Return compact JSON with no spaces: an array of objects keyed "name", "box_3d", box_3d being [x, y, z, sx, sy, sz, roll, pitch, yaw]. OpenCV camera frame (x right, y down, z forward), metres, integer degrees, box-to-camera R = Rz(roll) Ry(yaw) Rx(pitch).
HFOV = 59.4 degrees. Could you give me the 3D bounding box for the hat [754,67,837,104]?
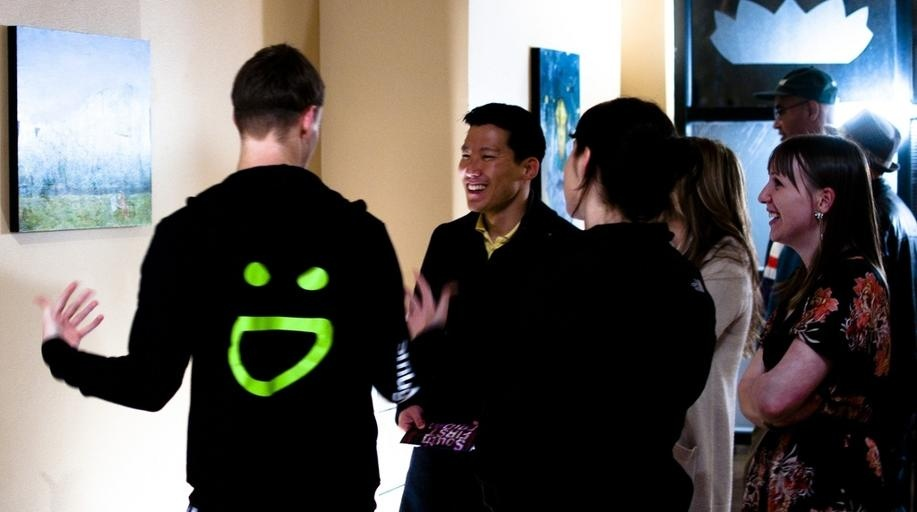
[{"name":"hat","box_3d":[1.846,-0.928,4.477,0.427,0.197,0.243,2,5,15]}]
